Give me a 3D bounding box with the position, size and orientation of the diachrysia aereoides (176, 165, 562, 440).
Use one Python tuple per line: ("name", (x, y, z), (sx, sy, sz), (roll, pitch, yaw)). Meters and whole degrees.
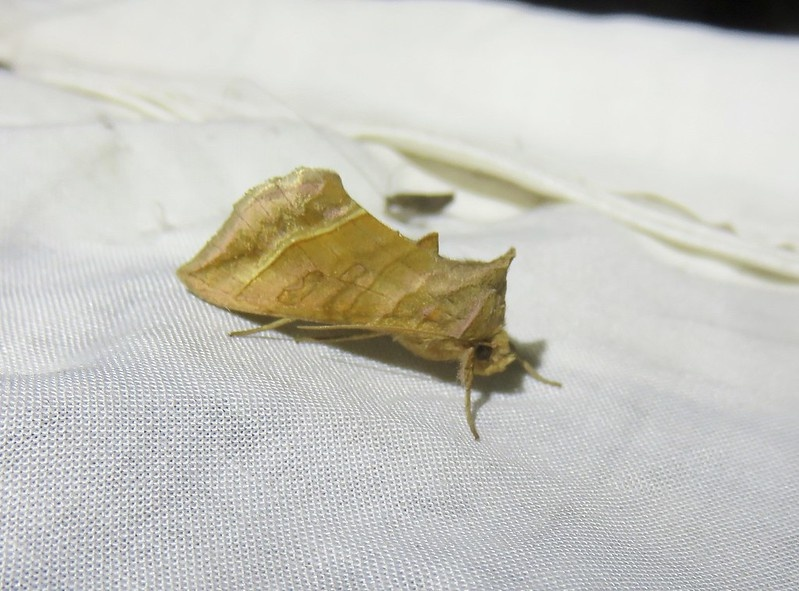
("diachrysia aereoides", (-0.075, 0.002, 1.563), (0.648, 0.212, 0.366), (17, 44, -2))
